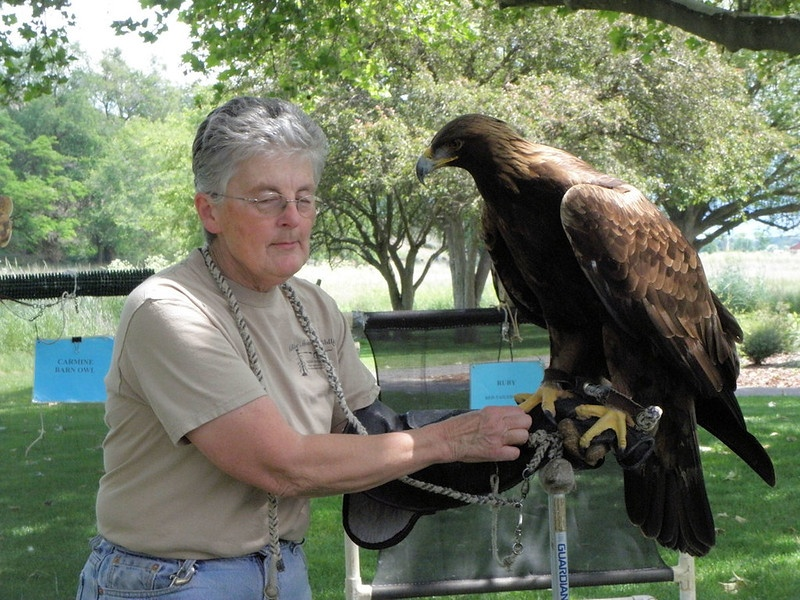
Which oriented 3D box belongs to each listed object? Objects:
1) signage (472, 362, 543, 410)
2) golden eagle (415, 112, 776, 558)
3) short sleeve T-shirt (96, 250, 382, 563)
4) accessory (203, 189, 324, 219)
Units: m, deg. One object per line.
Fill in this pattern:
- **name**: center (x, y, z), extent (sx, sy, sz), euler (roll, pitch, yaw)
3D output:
- **signage**: center (0.784, 0.632, 7.153), extent (0.540, 0.396, 0.051), euler (-2, 21, 0)
- **golden eagle**: center (1.479, 0.343, 7.162), extent (3.130, 3.083, 1.527), euler (4, 3, -26)
- **short sleeve T-shirt**: center (-1.037, 0.610, 5.804), extent (1.527, 1.844, 0.688), euler (-4, -3, -20)
- **accessory**: center (-0.727, -0.562, 5.769), extent (0.488, 0.164, 0.145), euler (-10, 11, -37)
